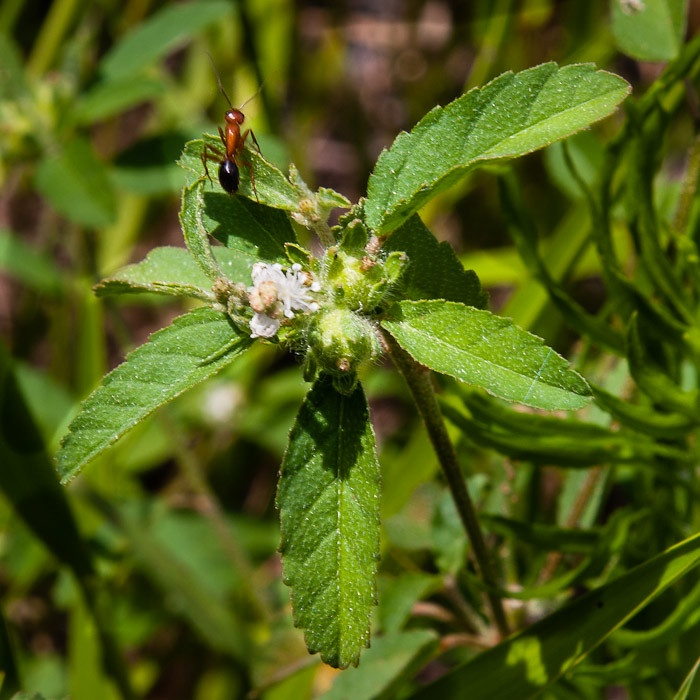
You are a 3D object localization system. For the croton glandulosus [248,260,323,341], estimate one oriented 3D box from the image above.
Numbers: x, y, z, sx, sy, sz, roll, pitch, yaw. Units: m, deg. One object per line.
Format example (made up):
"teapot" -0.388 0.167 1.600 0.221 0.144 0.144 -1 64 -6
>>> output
"croton glandulosus" -0.078 -0.058 0.976 0.089 0.060 0.093 -3 -78 -3
